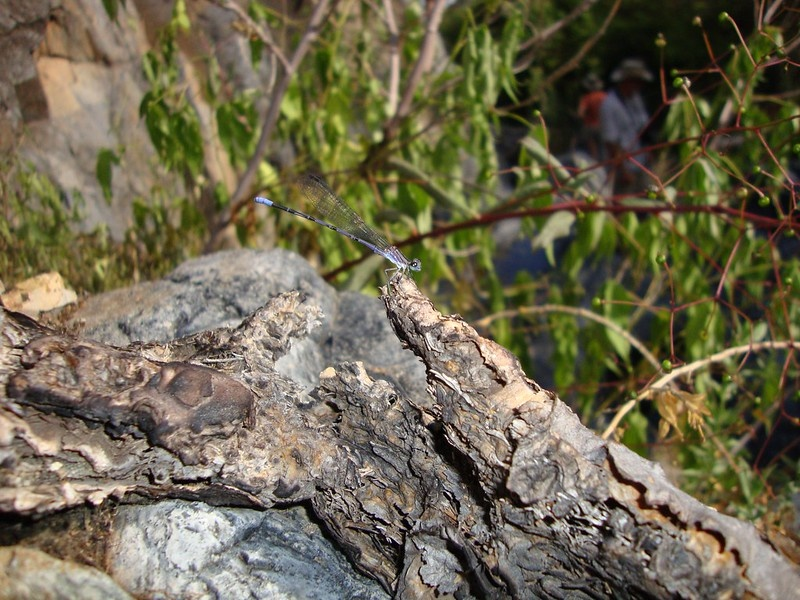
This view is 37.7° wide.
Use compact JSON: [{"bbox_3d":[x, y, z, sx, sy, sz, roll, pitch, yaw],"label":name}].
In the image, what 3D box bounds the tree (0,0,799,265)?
[{"bbox_3d":[-0.442,-0.743,4.814,2.096,0.594,1.632,-4,11,-13],"label":"tree"}]
